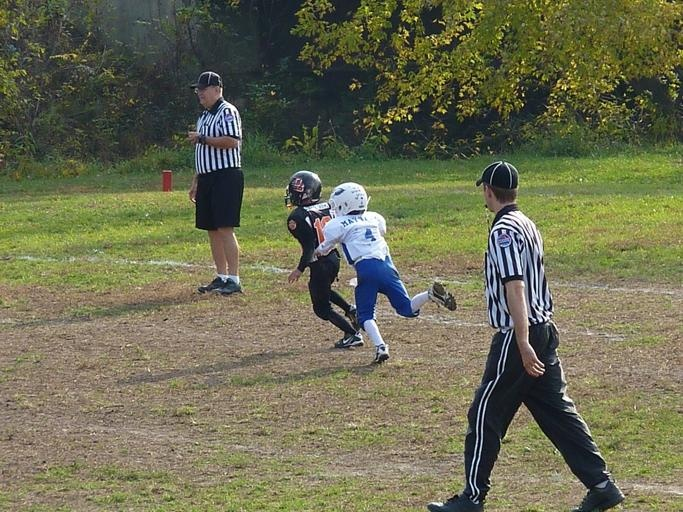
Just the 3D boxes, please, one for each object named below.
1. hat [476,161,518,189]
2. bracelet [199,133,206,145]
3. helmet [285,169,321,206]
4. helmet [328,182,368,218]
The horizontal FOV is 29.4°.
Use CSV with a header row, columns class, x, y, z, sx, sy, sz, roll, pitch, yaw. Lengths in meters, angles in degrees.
class,x,y,z,sx,sy,sz,roll,pitch,yaw
hat,1.953,-1.049,16.442,0.333,0.248,0.439,-8,20,-27
bracelet,-2.247,-1.918,21.103,0.125,0.131,0.102,-3,48,-8
helmet,-0.638,-1.043,19.818,0.608,0.465,0.434,1,10,12
helmet,0.093,-0.841,19.120,0.557,0.405,0.421,6,9,19
